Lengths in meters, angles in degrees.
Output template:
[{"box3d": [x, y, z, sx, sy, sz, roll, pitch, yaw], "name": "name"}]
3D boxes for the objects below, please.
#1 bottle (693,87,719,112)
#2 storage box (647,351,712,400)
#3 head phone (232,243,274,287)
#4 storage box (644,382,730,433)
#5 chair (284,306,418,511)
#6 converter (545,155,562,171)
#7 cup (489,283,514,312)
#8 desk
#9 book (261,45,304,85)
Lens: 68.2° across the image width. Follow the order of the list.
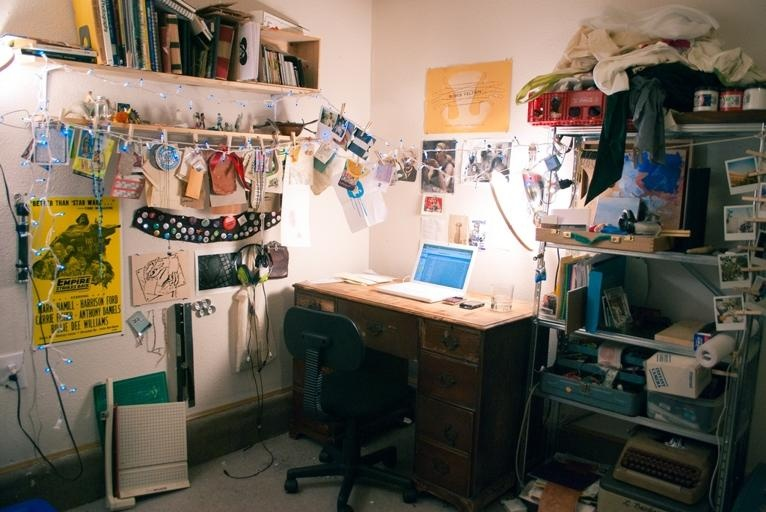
[{"box3d": [1.550, -0.745, 2.708, 0.113, 0.117, 0.111, 4, 4, 20], "name": "bottle"}, {"box3d": [1.487, 0.575, 2.870, 0.247, 0.157, 0.253, -6, 14, -38], "name": "storage box"}, {"box3d": [-0.873, 0.047, 3.724, 0.287, 0.342, 0.180, 3, -2, -41], "name": "head phone"}, {"box3d": [1.526, 0.777, 2.851, 0.224, 0.116, 0.284, 7, 9, 41], "name": "storage box"}, {"box3d": [-0.222, 0.833, 3.373, 0.773, 1.169, 0.644, -6, 11, -25], "name": "chair"}, {"box3d": [0.984, -0.528, 3.260, 0.085, 0.101, 0.110, 4, 10, 36], "name": "converter"}, {"box3d": [0.713, 0.246, 3.452, 0.152, 0.169, 0.147, 2, 4, 0], "name": "cup"}, {"box3d": [0.240, 0.627, 3.819, 1.991, 1.442, 1.104, 8, 9, 44], "name": "desk"}, {"box3d": [-0.634, -1.178, 3.514, 0.180, 0.082, 0.236, 12, 10, 31], "name": "book"}]
